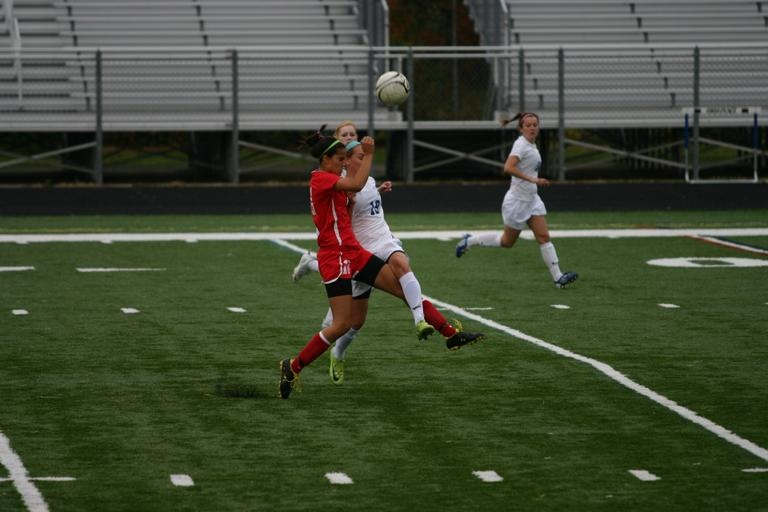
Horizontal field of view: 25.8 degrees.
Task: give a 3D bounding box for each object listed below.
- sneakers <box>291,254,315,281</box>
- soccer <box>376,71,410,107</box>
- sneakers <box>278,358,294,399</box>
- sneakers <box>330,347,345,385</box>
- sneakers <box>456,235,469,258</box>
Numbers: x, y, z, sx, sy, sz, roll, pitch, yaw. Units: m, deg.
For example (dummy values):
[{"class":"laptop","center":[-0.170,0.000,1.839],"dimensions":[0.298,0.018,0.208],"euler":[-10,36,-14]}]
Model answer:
[{"class":"sneakers","center":[-1.312,0.196,26.568],"dimensions":[0.526,0.235,0.203],"euler":[-35,5,26]},{"class":"soccer","center":[0.094,-2.556,25.642],"dimensions":[0.459,0.506,0.446],"euler":[-1,10,-1]},{"class":"sneakers","center":[-1.357,1.673,22.966],"dimensions":[0.229,0.539,0.202],"euler":[-1,10,-4]},{"class":"sneakers","center":[-0.712,1.539,23.240],"dimensions":[0.227,0.465,0.184],"euler":[-1,7,43]},{"class":"sneakers","center":[1.315,-0.180,28.506],"dimensions":[0.230,0.423,0.155],"euler":[-4,42,-11]}]
